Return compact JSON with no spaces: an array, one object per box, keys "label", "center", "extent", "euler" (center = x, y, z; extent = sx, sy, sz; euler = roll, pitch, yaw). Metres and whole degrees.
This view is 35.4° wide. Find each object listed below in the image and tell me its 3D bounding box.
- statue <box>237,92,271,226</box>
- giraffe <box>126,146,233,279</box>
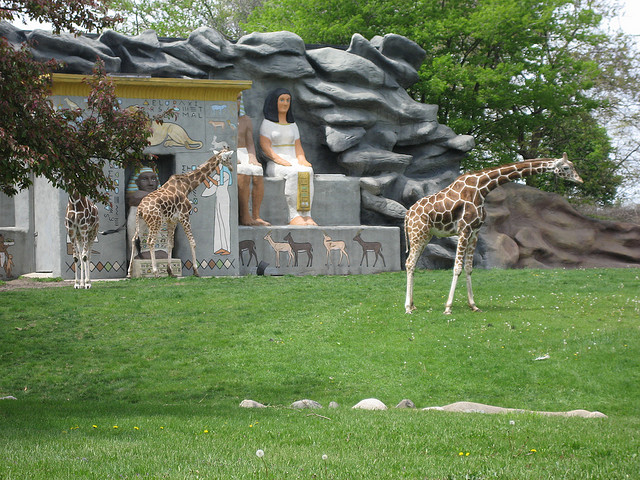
[{"label":"statue","center":[-2.748,-3.039,39.111],"extent":[1.018,5.199,1.485],"euler":[0,-3,-4]},{"label":"giraffe","center":[-4.860,-1.014,35.661],"extent":[3.972,4.862,3.148],"euler":[1,-3,-22]}]
